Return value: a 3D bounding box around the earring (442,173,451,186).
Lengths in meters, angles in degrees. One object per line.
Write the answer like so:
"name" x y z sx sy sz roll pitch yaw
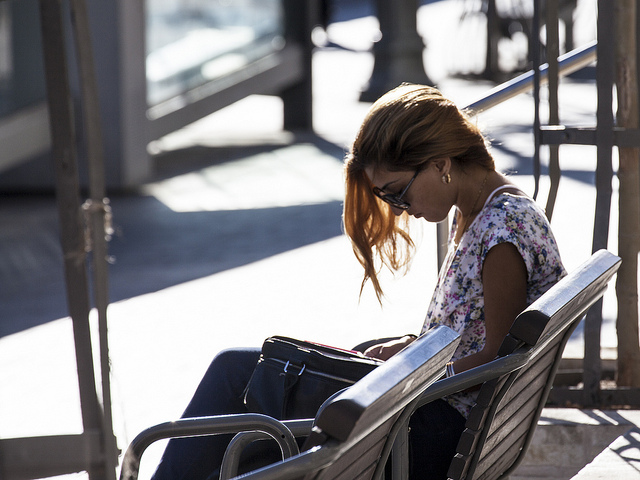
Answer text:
"earring" 0.526 -0.255 4.350 0.034 0.043 0.014 0 -1 7

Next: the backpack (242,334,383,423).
"backpack" -0.092 0.645 4.320 0.381 0.310 0.307 14 -22 14
